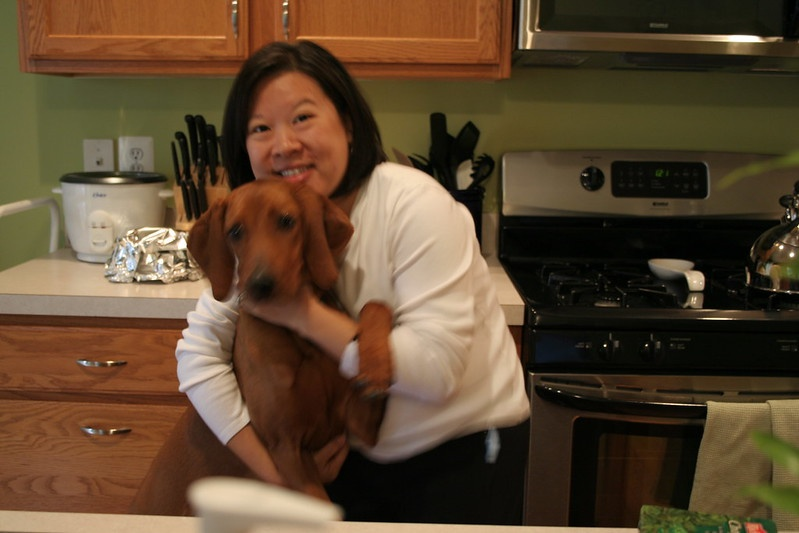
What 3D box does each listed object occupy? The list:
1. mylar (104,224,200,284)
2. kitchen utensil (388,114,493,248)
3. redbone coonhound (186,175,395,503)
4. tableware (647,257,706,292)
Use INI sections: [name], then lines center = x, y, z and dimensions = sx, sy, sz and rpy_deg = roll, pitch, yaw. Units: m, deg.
[mylar]
center = -0.732, -0.029, 1.925
dimensions = 0.194, 0.117, 0.257
rpy_deg = 8, 16, 20
[kitchen utensil]
center = 0.173, -0.275, 2.313
dimensions = 0.321, 0.469, 0.235
rpy_deg = -5, 18, -26
[redbone coonhound]
center = -0.187, 0.123, 1.170
dimensions = 0.355, 0.544, 0.184
rpy_deg = -1, 8, -18
[tableware]
center = 0.900, 0.032, 2.116
dimensions = 0.144, 0.063, 0.168
rpy_deg = -5, 17, -31
